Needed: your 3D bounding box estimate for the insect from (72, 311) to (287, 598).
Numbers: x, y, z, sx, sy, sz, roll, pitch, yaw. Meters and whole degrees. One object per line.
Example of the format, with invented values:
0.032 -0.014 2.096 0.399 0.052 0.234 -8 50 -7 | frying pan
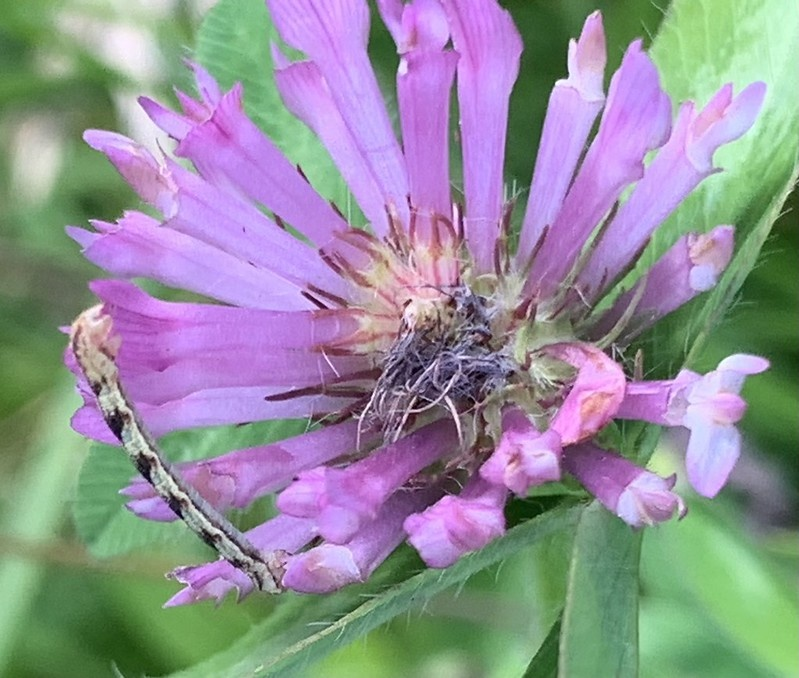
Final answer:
-0.119 0.065 0.608 0.072 0.227 0.070 -43 12 -13 | insect
